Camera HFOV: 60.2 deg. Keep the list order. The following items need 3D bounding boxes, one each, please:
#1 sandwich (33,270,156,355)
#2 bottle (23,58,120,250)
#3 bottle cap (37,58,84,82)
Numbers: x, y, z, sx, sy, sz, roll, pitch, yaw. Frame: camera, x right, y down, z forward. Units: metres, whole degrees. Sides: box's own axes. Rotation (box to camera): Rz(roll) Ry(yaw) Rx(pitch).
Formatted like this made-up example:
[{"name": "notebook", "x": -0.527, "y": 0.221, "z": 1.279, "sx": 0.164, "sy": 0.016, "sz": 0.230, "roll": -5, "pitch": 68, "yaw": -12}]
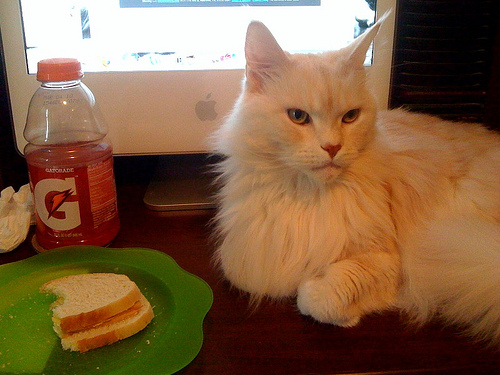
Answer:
[{"name": "sandwich", "x": -0.334, "y": 0.247, "z": 0.947, "sx": 0.200, "sy": 0.070, "sz": 0.287, "roll": -13, "pitch": 15, "yaw": -30}, {"name": "bottle", "x": -0.450, "y": -0.071, "z": 1.077, "sx": 0.202, "sy": 0.450, "sz": 0.205, "roll": 2, "pitch": 18, "yaw": 0}, {"name": "bottle cap", "x": -0.423, "y": -0.258, "z": 0.958, "sx": 0.097, "sy": 0.055, "sz": 0.086, "roll": 16, "pitch": 17, "yaw": 42}]
